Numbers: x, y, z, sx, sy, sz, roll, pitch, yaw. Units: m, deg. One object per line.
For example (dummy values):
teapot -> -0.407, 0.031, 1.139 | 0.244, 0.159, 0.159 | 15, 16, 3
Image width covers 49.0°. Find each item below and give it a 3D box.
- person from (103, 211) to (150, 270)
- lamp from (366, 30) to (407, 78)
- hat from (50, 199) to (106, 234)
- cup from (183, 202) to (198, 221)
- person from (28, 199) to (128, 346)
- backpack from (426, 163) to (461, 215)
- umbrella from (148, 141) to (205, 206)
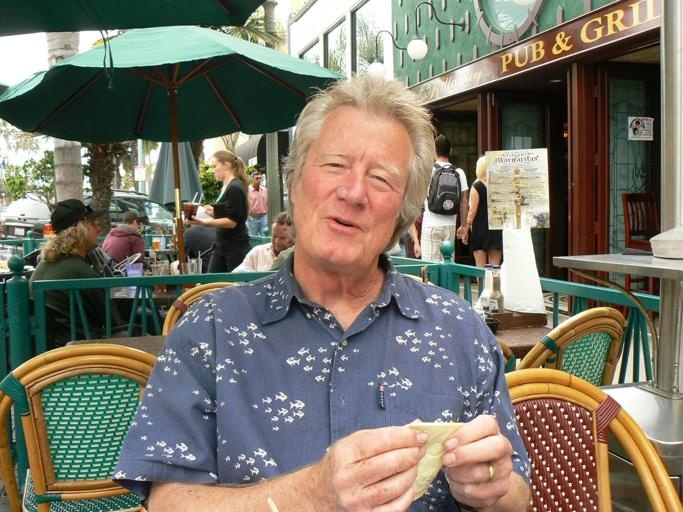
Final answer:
person -> -2.587, -0.040, 8.898 | 0.398, 0.965, 0.486 | 4, -5, 10
lamp -> 0.682, -3.081, 11.452 | 0.525, 0.346, 1.009 | 4, -27, 3
hat -> -2.229, -0.354, 6.304 | 0.383, 0.244, 0.251 | -13, 14, -36
cup -> -1.313, -0.401, 6.538 | 0.119, 0.146, 0.134 | 10, 17, 0
person -> -2.150, 0.099, 6.043 | 0.599, 1.112, 0.632 | 17, 17, 33
backpack -> 1.257, -0.790, 9.226 | 0.386, 0.661, 0.331 | 5, 2, -16
umbrella -> -2.284, -1.303, 10.240 | 0.504, 1.289, 0.596 | 1, -7, 6
